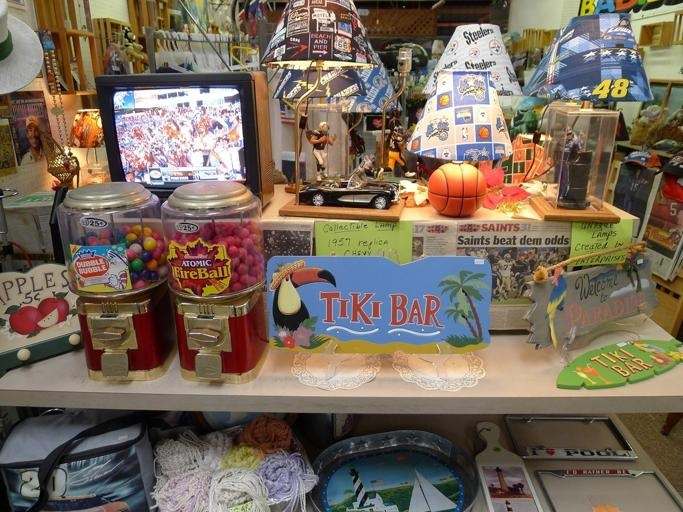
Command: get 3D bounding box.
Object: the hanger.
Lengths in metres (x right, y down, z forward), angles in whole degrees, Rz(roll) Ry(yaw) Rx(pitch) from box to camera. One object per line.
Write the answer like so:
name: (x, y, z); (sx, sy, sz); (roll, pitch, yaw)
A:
hanger: (-0.872, -1.308, 2.971); (0.659, 0.256, 1.640); (-5, 21, -10)
